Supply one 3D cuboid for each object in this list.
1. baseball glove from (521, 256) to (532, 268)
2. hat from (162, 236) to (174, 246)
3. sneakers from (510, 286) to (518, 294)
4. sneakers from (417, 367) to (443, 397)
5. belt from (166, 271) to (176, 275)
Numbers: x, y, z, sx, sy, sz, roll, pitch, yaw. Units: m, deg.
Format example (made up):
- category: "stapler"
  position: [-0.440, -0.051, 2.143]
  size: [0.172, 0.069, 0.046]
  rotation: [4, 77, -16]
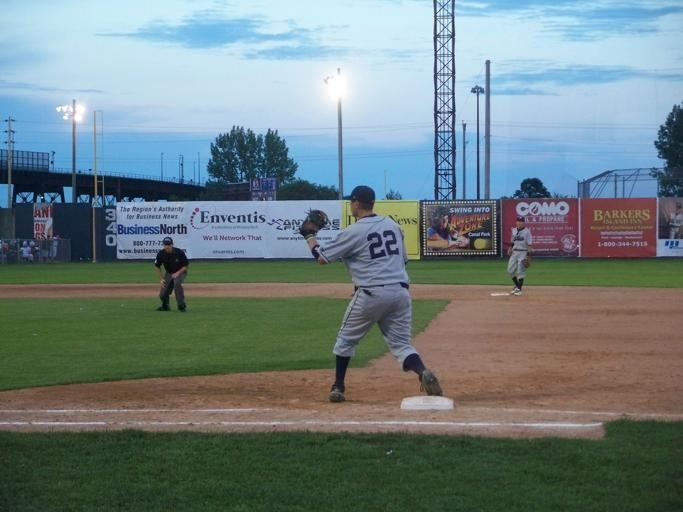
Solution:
- category: "baseball glove"
  position: [4.227, 0.120, 29.020]
  size: [0.150, 0.280, 0.384]
  rotation: [1, 18, 3]
- category: "hat"
  position: [-3.569, -0.339, 26.114]
  size: [0.195, 0.147, 0.278]
  rotation: [3, -8, -4]
- category: "sneakers"
  position: [4.014, 0.797, 29.913]
  size: [0.131, 0.086, 0.214]
  rotation: [-22, -7, -26]
- category: "sneakers"
  position: [1.278, 1.879, 18.807]
  size: [0.243, 0.555, 0.204]
  rotation: [-17, 29, 29]
- category: "belt"
  position: [-3.487, 0.342, 26.235]
  size: [0.074, 0.038, 0.167]
  rotation: [-9, 16, -34]
